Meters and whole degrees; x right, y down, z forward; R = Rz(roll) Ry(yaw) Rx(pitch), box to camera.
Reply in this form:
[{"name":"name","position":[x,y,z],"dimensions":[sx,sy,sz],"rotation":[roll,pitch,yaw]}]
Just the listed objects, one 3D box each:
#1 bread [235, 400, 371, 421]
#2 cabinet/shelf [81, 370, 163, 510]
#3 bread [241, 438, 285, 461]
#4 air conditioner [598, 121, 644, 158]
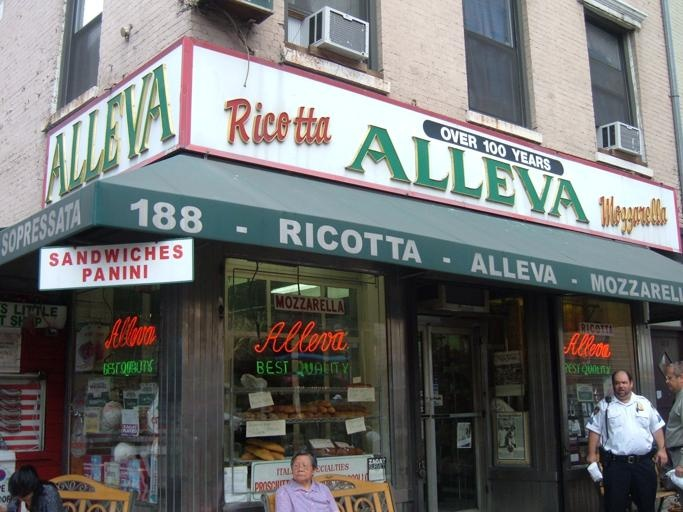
[{"name":"bread","position":[-0.507,1.766,8.696],"dimensions":[1.145,0.187,0.090],"rotation":[0,9,-32]},{"name":"cabinet/shelf","position":[-2.464,2.037,8.716],"dimensions":[0.712,1.714,0.831],"rotation":[-1,-2,44]},{"name":"bread","position":[-0.858,2.135,8.390],"dimensions":[0.347,0.261,0.115],"rotation":[28,-51,-29]},{"name":"air conditioner","position":[4.534,-1.835,12.360],"dimensions":[0.651,0.478,0.363],"rotation":[8,-11,-38]}]
